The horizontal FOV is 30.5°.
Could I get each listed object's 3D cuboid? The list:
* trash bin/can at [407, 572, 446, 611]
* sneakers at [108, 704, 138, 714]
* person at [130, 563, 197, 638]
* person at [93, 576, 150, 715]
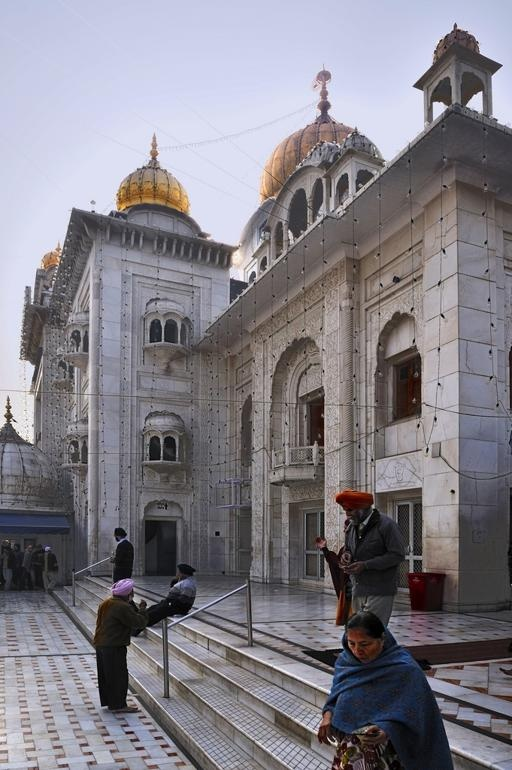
[{"bbox_3d":[2.082,2.635,11.864,0.424,0.538,0.488,14,-22,-31],"label":"trash bin/can"},{"bbox_3d":[-1.180,2.882,8.414,0.268,0.087,0.208,4,-9,-22],"label":"sneakers"},{"bbox_3d":[-1.030,2.388,10.749,0.636,0.786,0.336,8,-5,23],"label":"person"},{"bbox_3d":[-1.238,2.365,8.583,0.455,1.137,0.407,2,-8,-9],"label":"person"}]
